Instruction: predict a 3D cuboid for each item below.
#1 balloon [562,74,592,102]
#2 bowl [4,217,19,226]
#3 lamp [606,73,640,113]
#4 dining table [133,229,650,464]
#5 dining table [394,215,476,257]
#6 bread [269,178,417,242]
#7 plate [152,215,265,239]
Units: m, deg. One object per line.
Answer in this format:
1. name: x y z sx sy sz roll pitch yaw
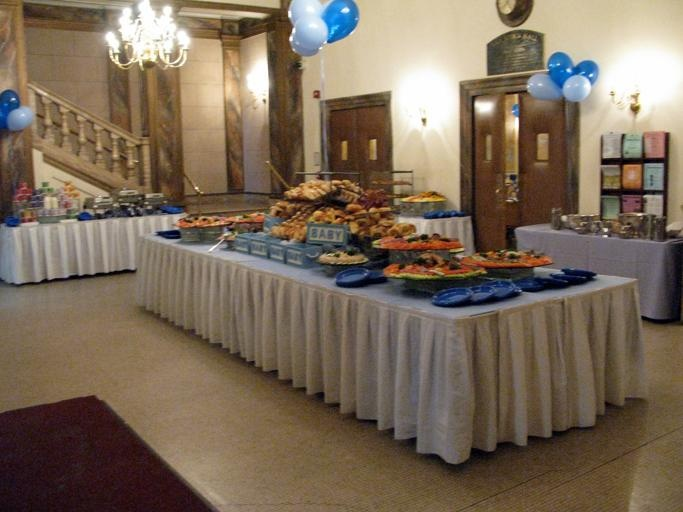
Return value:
1. balloon: 2.878 -2.038 6.517 0.391 0.358 0.350 3 8 10
2. bowl: -4.662 -0.501 7.440 0.170 0.128 0.344 -9 13 -29
3. lamp: 3.500 -1.923 6.479 0.149 0.411 0.402 -6 13 -13
4. dining table: 0.072 0.502 3.804 1.441 0.555 2.734 -8 12 -37
5. dining table: 1.601 -0.395 8.045 0.919 0.370 0.814 -2 9 -14
6. bread: -0.022 -0.363 4.176 0.788 0.232 0.803 -5 11 -31
7. plate: -1.419 -0.309 5.568 0.644 0.124 0.562 -4 9 -33
